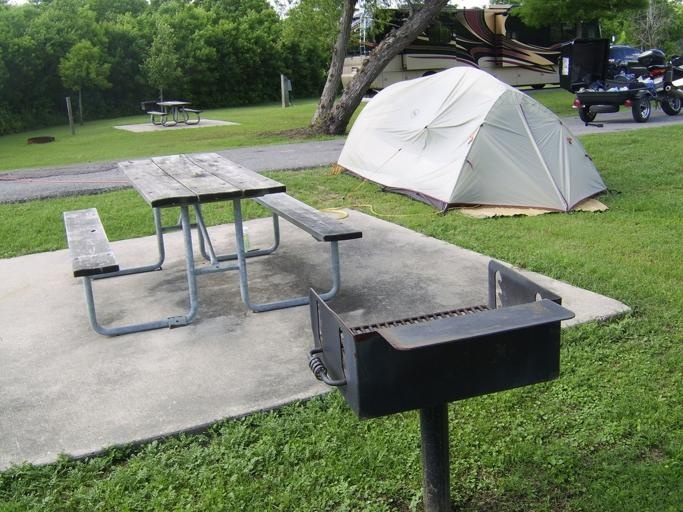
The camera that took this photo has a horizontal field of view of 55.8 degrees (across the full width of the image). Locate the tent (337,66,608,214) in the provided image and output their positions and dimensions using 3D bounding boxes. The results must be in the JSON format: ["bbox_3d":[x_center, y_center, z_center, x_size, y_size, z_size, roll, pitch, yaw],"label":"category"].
[{"bbox_3d":[1.570,-1.577,8.716,2.185,1.106,2.737,-18,29,-27],"label":"tent"}]

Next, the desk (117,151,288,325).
[{"bbox_3d":[-1.039,-0.091,6.788,1.047,1.152,3.126,-6,5,2],"label":"desk"}]
